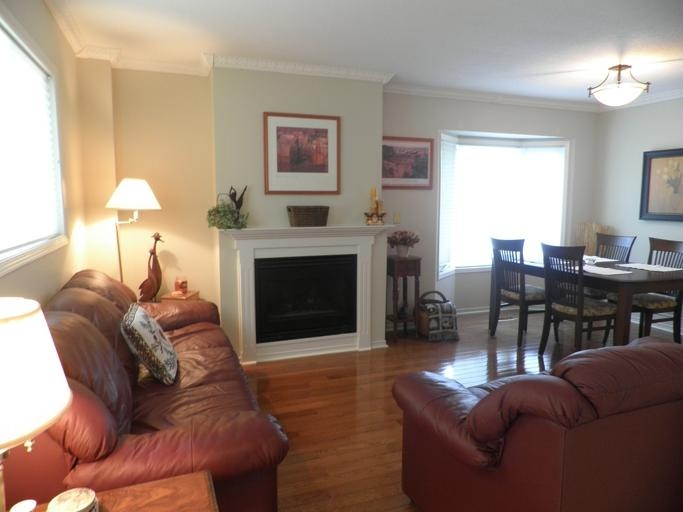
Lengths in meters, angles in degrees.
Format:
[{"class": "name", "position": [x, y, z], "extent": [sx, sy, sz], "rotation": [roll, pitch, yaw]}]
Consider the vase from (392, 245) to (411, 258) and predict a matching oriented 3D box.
[{"class": "vase", "position": [0.645, -0.048, 5.538], "extent": [0.134, 0.107, 0.139], "rotation": [4, 5, 39]}]

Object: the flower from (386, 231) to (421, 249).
[{"class": "flower", "position": [0.670, -0.178, 5.505], "extent": [0.225, 0.137, 0.223], "rotation": [-2, 4, -34]}]

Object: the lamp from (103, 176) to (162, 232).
[{"class": "lamp", "position": [-1.828, -0.447, 4.536], "extent": [0.452, 0.449, 0.440], "rotation": [0, 3, -38]}]

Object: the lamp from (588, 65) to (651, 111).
[{"class": "lamp", "position": [2.750, -1.658, 5.017], "extent": [0.511, 0.376, 0.525], "rotation": [-1, 10, -2]}]

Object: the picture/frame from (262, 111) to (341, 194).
[{"class": "picture/frame", "position": [-0.410, -1.006, 4.879], "extent": [0.746, 0.730, 0.052], "rotation": [-4, 11, -20]}]

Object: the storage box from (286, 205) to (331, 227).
[{"class": "storage box", "position": [-0.297, -0.370, 4.842], "extent": [0.317, 0.170, 0.207], "rotation": [-2, 6, -17]}]

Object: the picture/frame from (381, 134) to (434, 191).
[{"class": "picture/frame", "position": [0.714, -1.059, 5.702], "extent": [0.654, 0.568, 0.026], "rotation": [-3, 12, -17]}]
